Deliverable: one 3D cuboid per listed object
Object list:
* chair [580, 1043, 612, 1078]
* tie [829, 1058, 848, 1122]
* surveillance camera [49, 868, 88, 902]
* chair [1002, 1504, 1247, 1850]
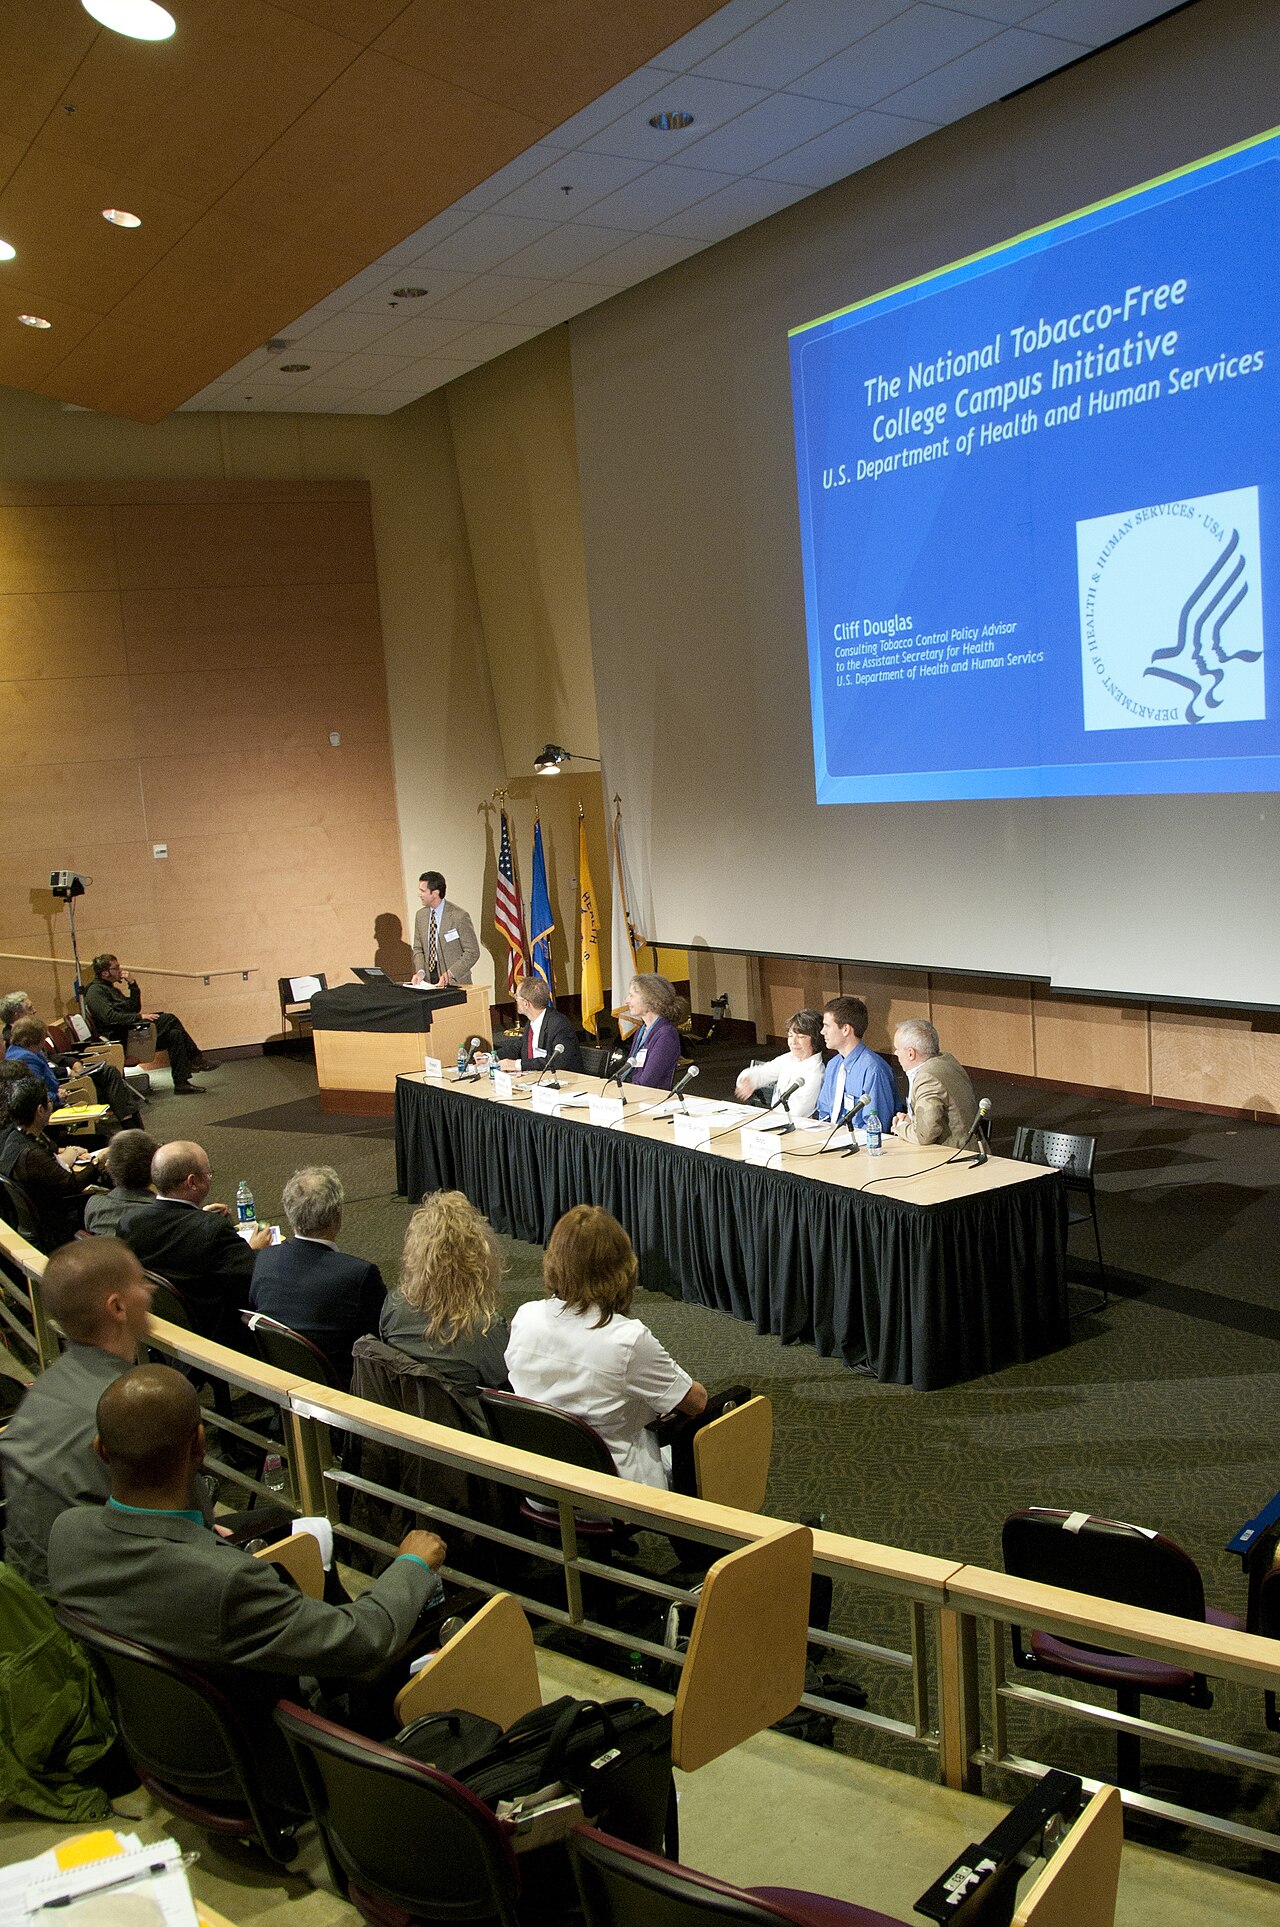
[{"bbox_3d":[-0.254,0.552,7.433,0.137,0.200,0.158,8,9,35],"label":"chair"},{"bbox_3d":[0.848,0.566,5.744,0.058,0.221,0.155,-3,3,-2],"label":"tie"},{"bbox_3d":[-4.944,-0.659,11.331,0.326,0.328,0.311,0,-1,-1],"label":"surveillance camera"},{"bbox_3d":[0.791,1.206,2.255,0.298,0.620,0.359,-3,2,15],"label":"chair"}]
